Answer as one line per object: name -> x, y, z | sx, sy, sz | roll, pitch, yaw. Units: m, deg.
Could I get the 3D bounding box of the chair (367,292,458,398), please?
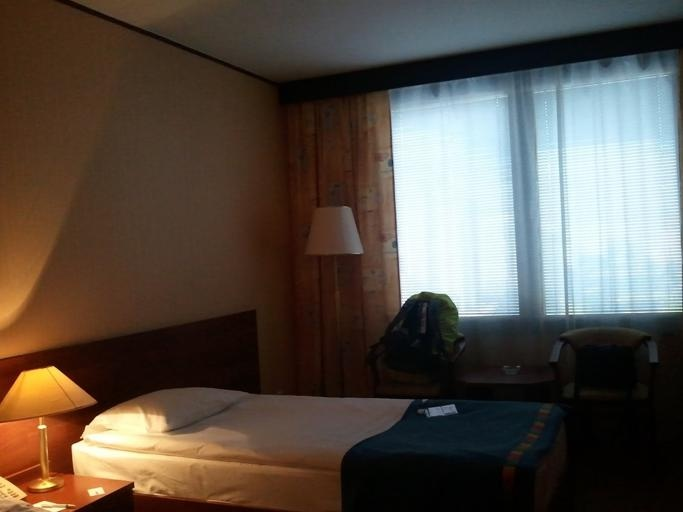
chair -> 0.736, 0.769, 5.498 | 0.838, 0.792, 0.650 | -3, -7, 4

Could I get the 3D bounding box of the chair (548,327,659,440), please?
chair -> 2.120, 1.053, 4.805 | 0.755, 0.898, 0.714 | -4, -7, 29

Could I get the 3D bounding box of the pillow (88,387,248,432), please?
pillow -> -1.132, 1.044, 4.064 | 1.039, 0.180, 0.387 | -3, 2, -34
